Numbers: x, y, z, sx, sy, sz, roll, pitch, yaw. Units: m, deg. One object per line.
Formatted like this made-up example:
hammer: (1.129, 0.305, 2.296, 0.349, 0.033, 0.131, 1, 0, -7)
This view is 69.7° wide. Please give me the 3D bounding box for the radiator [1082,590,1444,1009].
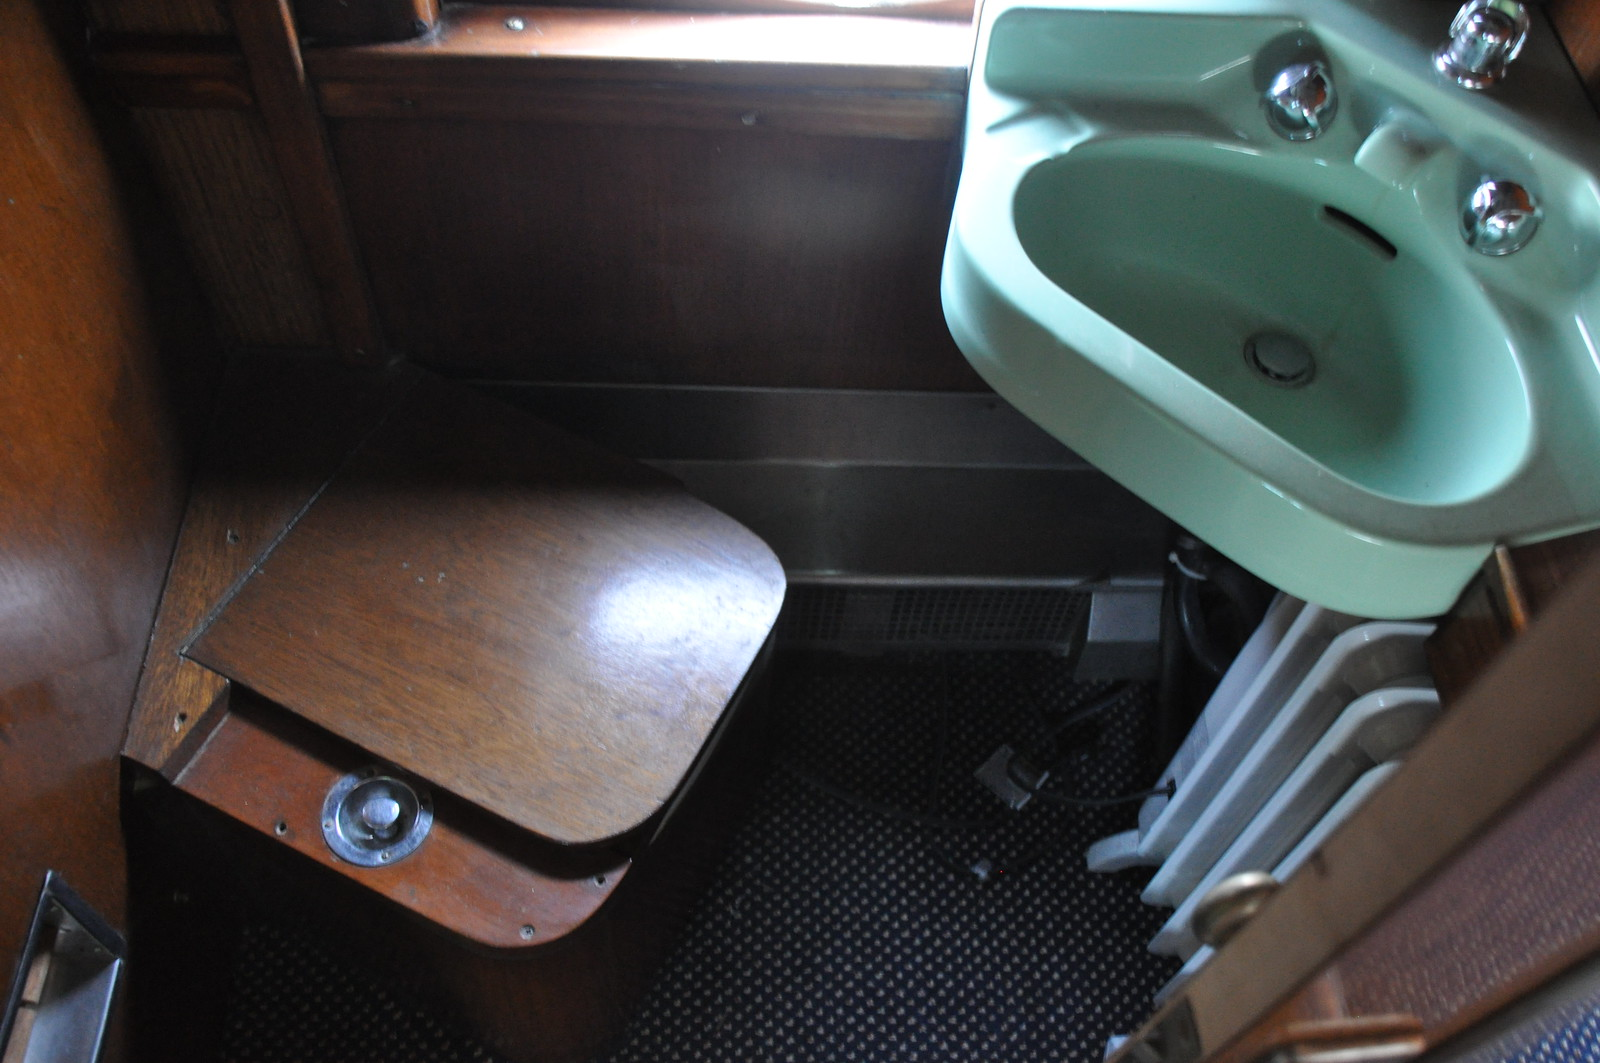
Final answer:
radiator: (0.651, 0.361, 1.605, 0.150, 0.617, 0.451, 16, 50, -24)
